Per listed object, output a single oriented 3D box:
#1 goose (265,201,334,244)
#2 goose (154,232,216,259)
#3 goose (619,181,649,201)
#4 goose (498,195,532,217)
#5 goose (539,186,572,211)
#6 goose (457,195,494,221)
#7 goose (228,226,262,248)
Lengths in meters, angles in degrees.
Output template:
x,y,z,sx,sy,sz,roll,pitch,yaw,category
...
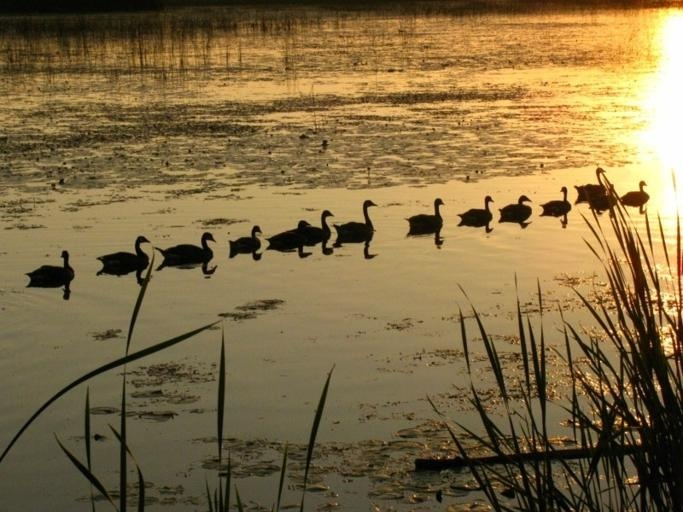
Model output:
x,y,z,sx,sy,sz,roll,pitch,yaw,category
-0.933,-0.692,34.228,0.741,0.884,1.972,3,6,34,goose
-3.814,-0.132,33.220,1.253,0.719,0.646,-3,6,-6,goose
7.824,-1.644,35.155,0.714,0.647,1.318,1,5,14,goose
4.631,-1.225,35.184,0.857,0.517,0.477,-7,20,-16,goose
5.814,-1.354,35.419,0.887,0.651,0.521,-11,18,-22,goose
3.706,-1.191,34.918,1.000,0.739,0.712,-6,8,-42,goose
-2.415,-0.485,33.708,0.814,0.520,0.862,-1,5,-4,goose
